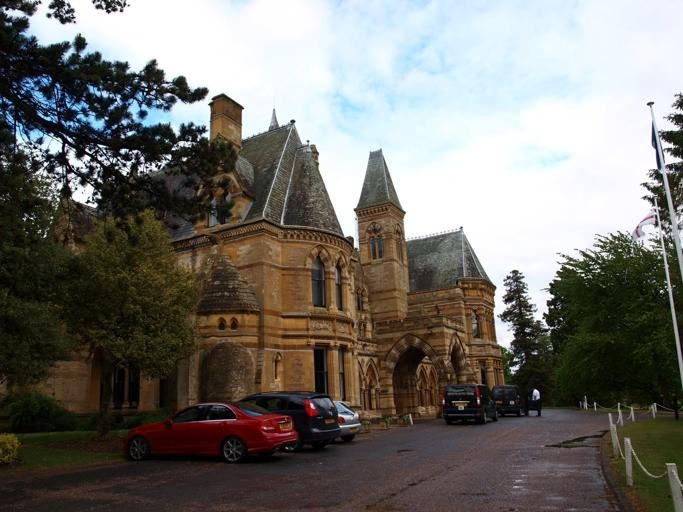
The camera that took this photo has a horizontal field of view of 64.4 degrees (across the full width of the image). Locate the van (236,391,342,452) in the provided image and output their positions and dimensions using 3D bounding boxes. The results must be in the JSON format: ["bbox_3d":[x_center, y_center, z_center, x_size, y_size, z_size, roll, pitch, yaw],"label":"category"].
[{"bbox_3d":[-1.890,5.514,18.469,3.541,1.295,1.663,-2,-13,22],"label":"van"}]

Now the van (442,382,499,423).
[{"bbox_3d":[7.442,8.251,30.605,1.907,1.408,3.523,-5,-12,24],"label":"van"}]

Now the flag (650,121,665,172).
[{"bbox_3d":[11.916,-4.162,20.473,0.253,2.003,1.832,-11,-18,31],"label":"flag"}]
